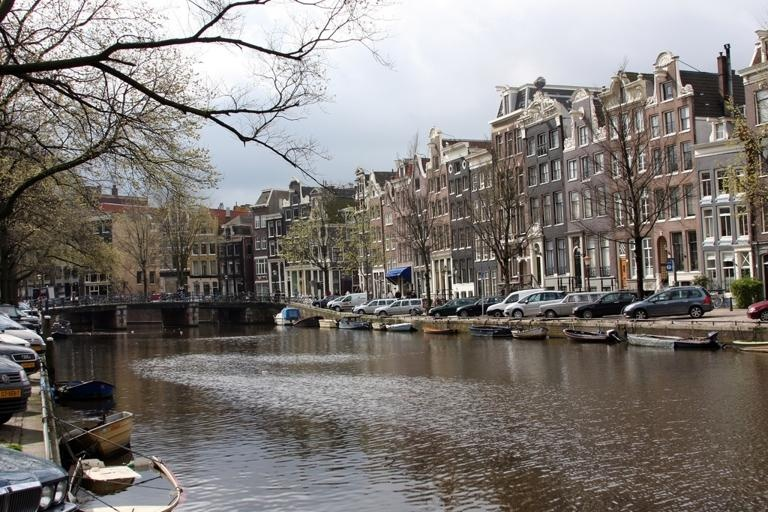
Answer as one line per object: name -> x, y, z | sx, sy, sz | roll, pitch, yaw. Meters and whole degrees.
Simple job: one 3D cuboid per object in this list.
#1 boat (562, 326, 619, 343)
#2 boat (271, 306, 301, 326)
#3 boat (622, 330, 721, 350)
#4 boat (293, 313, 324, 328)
boat -> 11.761, 4.480, 45.279 | 0.871, 0.583, 2.636 | -2, 2, -36
boat -> -11.269, 7.001, 92.096 | 1.536, 1.750, 4.588 | 1, 2, -22
boat -> 14.420, 4.259, 39.744 | 0.956, 0.916, 4.875 | 1, -9, -32
boat -> -8.452, 6.887, 87.256 | 2.347, 0.757, 1.811 | -8, -8, 28
